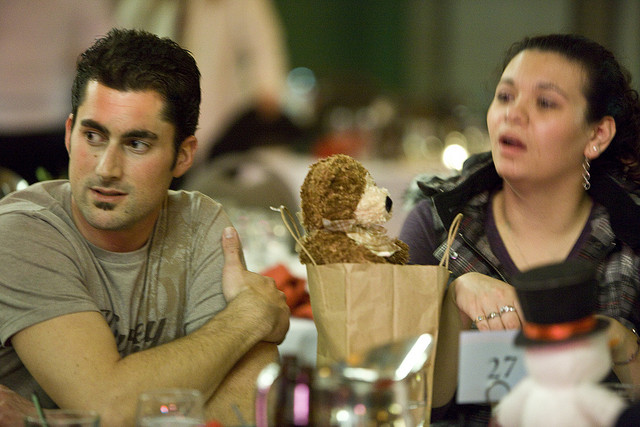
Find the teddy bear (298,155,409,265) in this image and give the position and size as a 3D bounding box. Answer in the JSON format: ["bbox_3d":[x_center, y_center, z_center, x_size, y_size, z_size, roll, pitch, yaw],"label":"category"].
[{"bbox_3d":[0.093,0.017,1.775,0.278,0.362,0.278,-4,0,-41],"label":"teddy bear"}]

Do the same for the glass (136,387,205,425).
[{"bbox_3d":[-0.339,0.439,1.429,0.106,0.100,0.183,2,0,-1],"label":"glass"}]

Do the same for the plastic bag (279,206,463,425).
[{"bbox_3d":[0.161,0.261,1.668,0.552,0.615,0.342,1,-18,-8],"label":"plastic bag"}]

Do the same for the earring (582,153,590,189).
[{"bbox_3d":[0.887,-0.142,2.094,0.020,0.116,0.076,3,7,26],"label":"earring"}]

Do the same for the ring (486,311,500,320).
[{"bbox_3d":[0.479,0.282,1.737,0.023,0.008,0.023,-35,6,4],"label":"ring"}]

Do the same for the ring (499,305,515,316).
[{"bbox_3d":[0.519,0.264,1.742,0.044,0.026,0.011,-2,6,-10],"label":"ring"}]

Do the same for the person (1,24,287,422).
[{"bbox_3d":[-0.576,0.012,1.927,0.745,1.181,0.684,-6,8,-42],"label":"person"}]
